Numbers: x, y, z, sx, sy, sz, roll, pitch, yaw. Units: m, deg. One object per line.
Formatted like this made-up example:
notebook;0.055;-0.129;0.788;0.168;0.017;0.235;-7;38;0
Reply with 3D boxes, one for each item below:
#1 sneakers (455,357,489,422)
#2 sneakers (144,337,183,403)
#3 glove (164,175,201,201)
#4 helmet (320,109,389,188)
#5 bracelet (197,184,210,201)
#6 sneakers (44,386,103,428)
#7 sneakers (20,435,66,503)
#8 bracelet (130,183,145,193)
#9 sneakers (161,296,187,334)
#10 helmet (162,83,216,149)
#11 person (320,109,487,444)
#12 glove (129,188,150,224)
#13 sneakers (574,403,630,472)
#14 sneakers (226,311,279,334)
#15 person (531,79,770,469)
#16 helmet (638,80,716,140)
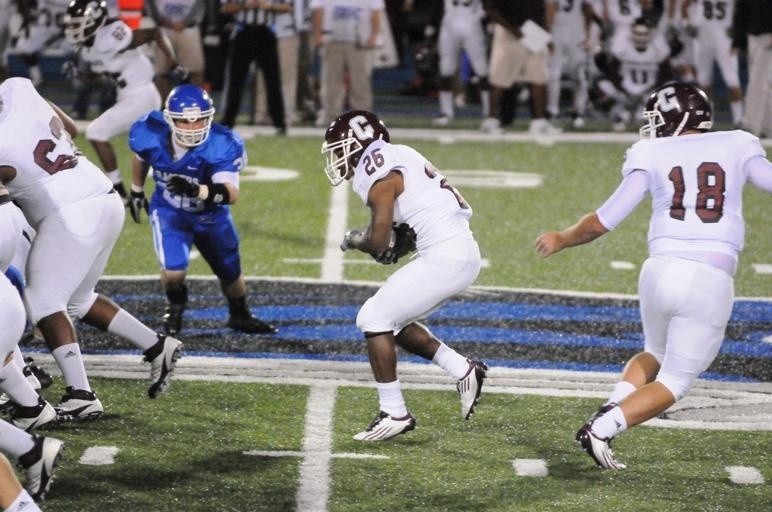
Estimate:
sneakers;0.445;0.683;6.283;0.178;0.352;0.124;6;16;-4
sneakers;-1.203;0.568;6.426;0.199;0.372;0.144;8;16;-19
glove;-1.122;-0.379;6.627;0.166;0.077;0.096;24;49;-34
helmet;-0.210;-0.611;6.440;0.404;0.358;0.352;-19;8;12
bracelet;-1.021;-0.355;6.738;0.071;0.069;0.071;13;40;-31
sneakers;-1.577;0.775;6.170;0.336;0.182;0.120;2;3;-8
sneakers;-1.592;0.973;5.581;0.181;0.349;0.137;4;26;-24
bracelet;-1.510;-0.418;7.285;0.061;0.055;0.060;4;-7;-20
sneakers;-1.284;0.357;7.313;0.089;0.260;0.111;3;-3;-19
helmet;-1.113;-0.764;6.806;0.291;0.276;0.344;-6;41;-11
person;0.125;0.074;6.320;0.835;1.548;0.938;-4;24;-6
glove;-1.519;-0.311;7.430;0.181;0.237;0.077;-1;22;5
sneakers;1.085;0.898;5.925;0.297;0.331;0.190;-20;30;-37
sneakers;-0.829;0.408;7.423;0.334;0.131;0.112;2;6;1
person;1.351;0.098;5.997;0.782;1.725;1.122;15;28;33
helmet;1.492;-0.741;6.163;0.349;0.280;0.261;3;10;20
